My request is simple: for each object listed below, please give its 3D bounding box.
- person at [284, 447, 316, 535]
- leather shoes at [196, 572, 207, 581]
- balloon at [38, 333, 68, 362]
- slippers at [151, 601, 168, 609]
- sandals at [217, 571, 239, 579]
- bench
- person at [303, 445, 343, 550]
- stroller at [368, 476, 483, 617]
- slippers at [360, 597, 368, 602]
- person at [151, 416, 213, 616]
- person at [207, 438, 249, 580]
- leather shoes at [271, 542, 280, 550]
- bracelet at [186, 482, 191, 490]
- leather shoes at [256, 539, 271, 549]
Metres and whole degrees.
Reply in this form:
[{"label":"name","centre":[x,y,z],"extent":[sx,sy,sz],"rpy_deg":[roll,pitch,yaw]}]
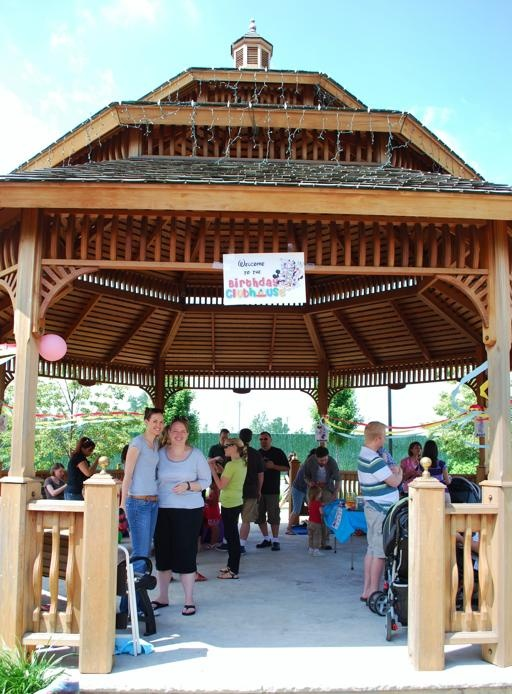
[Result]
[{"label":"person","centre":[0.662,2.116,11.099],"extent":[0.378,1.174,0.382],"rpy_deg":[0,-14,41]},{"label":"leather shoes","centre":[-0.549,2.308,7.659],"extent":[0.148,0.109,0.054],"rpy_deg":[-16,-18,38]},{"label":"balloon","centre":[-1.621,-0.023,6.061],"extent":[0.167,0.212,0.446],"rpy_deg":[1,-6,-4]},{"label":"slippers","centre":[-0.822,2.199,6.493],"extent":[0.194,0.060,0.071],"rpy_deg":[8,-8,-23]},{"label":"sandals","centre":[-0.281,2.309,7.748],"extent":[0.126,0.048,0.131],"rpy_deg":[-4,-3,11]},{"label":"bench","centre":[-1.134,1.781,5.761],"extent":[0.850,0.784,0.566],"rpy_deg":[5,-7,-33]},{"label":"person","centre":[0.882,1.978,10.099],"extent":[0.422,1.294,0.426],"rpy_deg":[-3,0,-26]},{"label":"stroller","centre":[1.232,1.729,6.047],"extent":[0.719,0.735,0.553],"rpy_deg":[3,-18,-2]},{"label":"slippers","centre":[0.955,2.243,6.786],"extent":[0.058,0.071,0.080],"rpy_deg":[1,-24,-1]},{"label":"person","centre":[-0.674,1.356,6.309],"extent":[0.500,1.526,0.484],"rpy_deg":[-3,-14,13]},{"label":"person","centre":[-0.291,1.629,7.702],"extent":[0.420,1.369,0.410],"rpy_deg":[-2,-8,18]},{"label":"leather shoes","centre":[0.238,2.517,9.648],"extent":[0.066,0.084,0.197],"rpy_deg":[1,-17,-2]},{"label":"bracelet","centre":[-0.543,1.145,6.242],"extent":[0.038,0.059,0.053],"rpy_deg":[1,-1,1]},{"label":"leather shoes","centre":[0.096,2.540,9.858],"extent":[0.081,0.095,0.221],"rpy_deg":[-12,-25,23]}]
